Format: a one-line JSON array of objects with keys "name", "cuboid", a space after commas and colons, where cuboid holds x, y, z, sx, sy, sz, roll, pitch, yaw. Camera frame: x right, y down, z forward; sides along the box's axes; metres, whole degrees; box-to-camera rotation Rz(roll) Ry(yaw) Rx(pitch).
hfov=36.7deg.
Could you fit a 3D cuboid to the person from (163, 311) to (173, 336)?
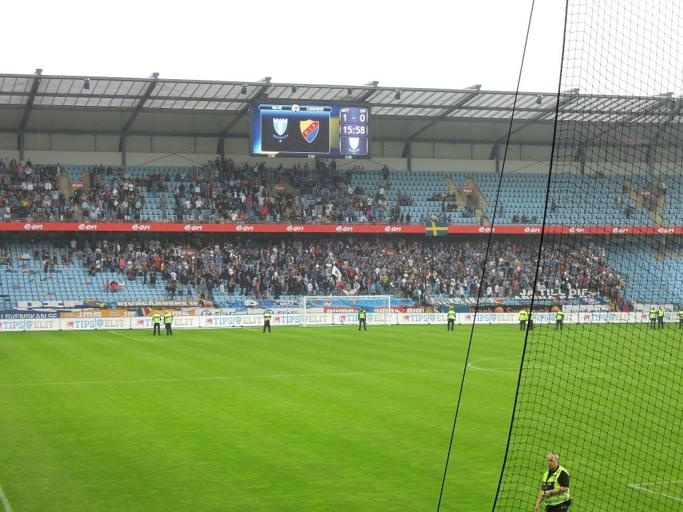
[{"name": "person", "cuboid": [-8.463, 3.311, 50.489, 0.390, 1.094, 1.472, -1, -1, -10]}]
